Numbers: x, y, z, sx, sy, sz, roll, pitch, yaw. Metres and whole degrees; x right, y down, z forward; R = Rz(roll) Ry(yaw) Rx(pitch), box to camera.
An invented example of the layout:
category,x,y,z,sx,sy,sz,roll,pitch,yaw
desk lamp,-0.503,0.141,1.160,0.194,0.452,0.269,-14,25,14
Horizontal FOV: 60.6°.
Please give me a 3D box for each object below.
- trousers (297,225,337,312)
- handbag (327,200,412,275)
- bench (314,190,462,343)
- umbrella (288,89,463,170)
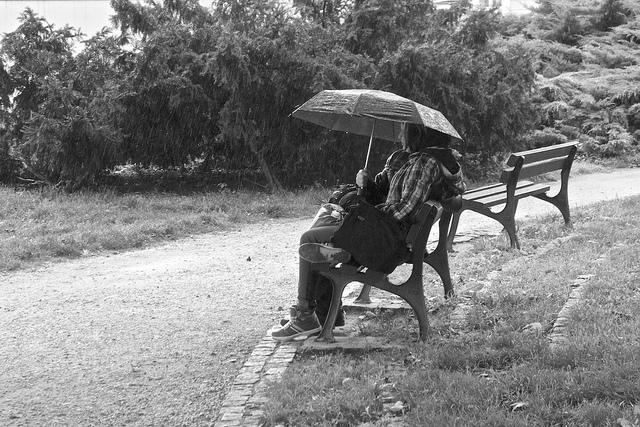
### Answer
category,x,y,z,sx,sy,sz,roll,pitch,yaw
trousers,-0.047,0.655,6.036,0.328,1.049,0.428,7,17,2
handbag,0.538,0.246,5.860,0.640,0.796,0.336,-52,7,3
bench,0.732,0.186,7.319,1.347,1.549,3.090,6,17,5
umbrella,0.568,-1.012,6.464,1.744,0.888,1.700,-1,12,-7
